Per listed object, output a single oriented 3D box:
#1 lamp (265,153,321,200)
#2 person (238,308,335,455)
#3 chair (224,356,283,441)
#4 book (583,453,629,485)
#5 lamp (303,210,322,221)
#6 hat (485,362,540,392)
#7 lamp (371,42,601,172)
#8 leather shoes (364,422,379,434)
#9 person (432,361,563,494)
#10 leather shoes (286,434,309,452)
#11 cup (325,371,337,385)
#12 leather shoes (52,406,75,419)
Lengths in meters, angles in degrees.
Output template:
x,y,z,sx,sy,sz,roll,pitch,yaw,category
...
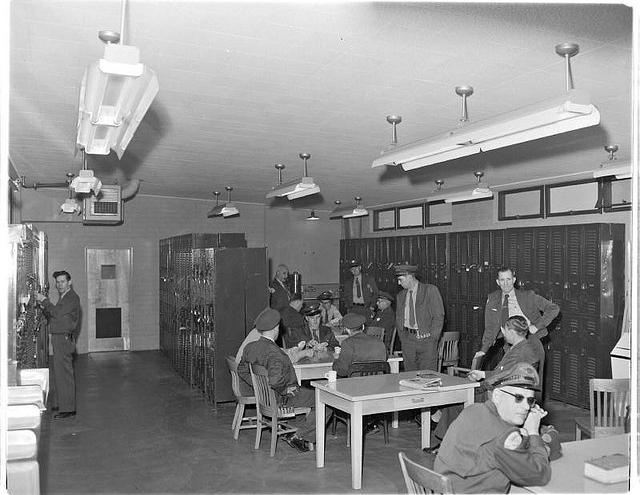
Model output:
x,y,z,sx,sy,sz,roll,pitch,yaw,category
-0.392,-0.986,7.375,0.335,0.474,0.851,4,-4,-31,lamp
-0.394,1.695,6.598,0.874,1.884,0.822,-18,13,-33,person
-1.017,2.021,7.229,0.898,1.303,0.798,0,-1,-10,chair
1.926,1.449,3.448,0.233,0.069,0.169,2,-5,-30,book
-0.220,-0.933,14.937,0.417,0.340,0.843,0,0,-1,lamp
1.330,0.890,3.648,0.223,0.127,0.310,13,-21,-33,hat
1.285,-1.106,4.439,1.788,0.570,0.468,-11,-5,38,lamp
0.695,2.376,6.960,0.233,0.087,0.167,-1,-1,-5,leather shoes
1.178,1.215,3.568,0.733,0.831,0.522,0,0,18,person
-0.273,2.384,6.442,0.341,0.138,0.130,6,0,41,leather shoes
0.123,1.413,5.723,0.161,0.140,0.106,-1,-1,-4,cup
-3.810,2.426,7.709,0.370,0.157,0.137,1,3,-5,leather shoes
